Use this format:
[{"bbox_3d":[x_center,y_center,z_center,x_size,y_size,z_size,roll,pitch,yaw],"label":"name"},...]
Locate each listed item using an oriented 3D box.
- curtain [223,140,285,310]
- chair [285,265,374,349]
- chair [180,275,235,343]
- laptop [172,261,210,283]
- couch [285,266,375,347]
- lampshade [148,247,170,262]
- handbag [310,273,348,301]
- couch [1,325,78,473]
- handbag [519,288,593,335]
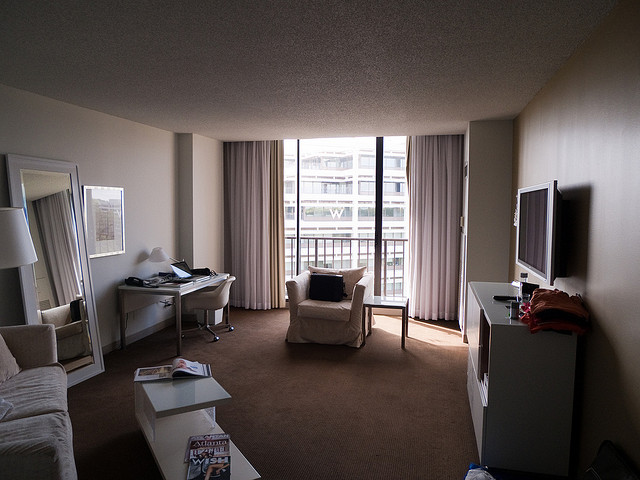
[{"bbox_3d":[-1.051,-0.262,7.157,0.939,2.738,0.292,2,4,-26],"label":"curtain"},{"bbox_3d":[0.140,0.836,5.908,1.021,0.968,0.963,2,0,9],"label":"chair"},{"bbox_3d":[-1.460,0.862,5.898,0.685,0.835,0.688,3,7,-16],"label":"chair"},{"bbox_3d":[-1.700,0.431,5.871,0.274,0.193,0.303,0,2,6],"label":"laptop"},{"bbox_3d":[0.131,0.860,5.917,1.006,0.907,0.946,2,1,18],"label":"couch"},{"bbox_3d":[-2.035,0.203,5.731,0.183,0.124,0.178,-4,0,39],"label":"lampshade"},{"bbox_3d":[0.089,0.620,5.820,0.477,0.393,0.295,0,-6,19],"label":"handbag"},{"bbox_3d":[-2.064,1.162,3.286,0.267,0.349,0.836,-2,16,-30],"label":"couch"},{"bbox_3d":[1.638,0.501,3.134,0.345,0.117,0.282,2,6,0],"label":"handbag"}]
